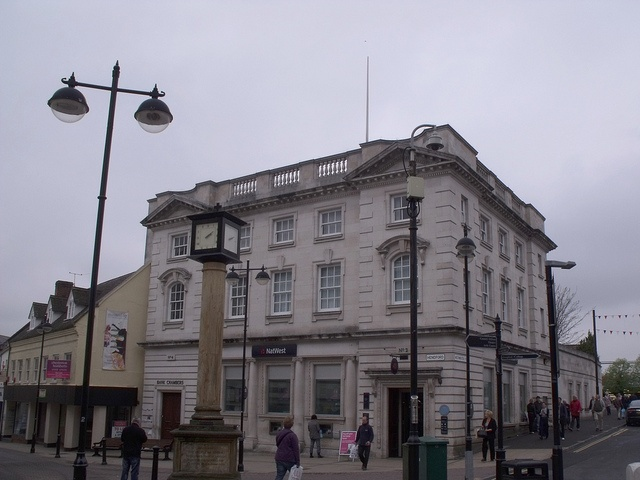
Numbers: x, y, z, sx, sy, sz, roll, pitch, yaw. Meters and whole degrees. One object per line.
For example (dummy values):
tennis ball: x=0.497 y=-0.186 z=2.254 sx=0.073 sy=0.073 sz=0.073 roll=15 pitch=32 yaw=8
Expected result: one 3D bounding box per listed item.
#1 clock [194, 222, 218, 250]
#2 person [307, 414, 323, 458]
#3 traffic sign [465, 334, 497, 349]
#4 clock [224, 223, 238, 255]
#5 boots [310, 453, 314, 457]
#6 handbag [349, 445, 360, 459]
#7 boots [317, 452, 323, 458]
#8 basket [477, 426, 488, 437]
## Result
clock: x=-3.550 y=-0.099 z=21.915 sx=0.769 sy=0.930 sz=0.067 roll=-7 pitch=-25 yaw=16
person: x=-0.284 y=10.625 z=37.847 sx=0.744 sy=2.176 sz=1.608 roll=0 pitch=-19 yaw=0
traffic sign: x=5.946 y=3.704 z=25.819 sx=1.055 sy=0.586 sz=0.540 roll=1 pitch=-19 yaw=-3
clock: x=-2.839 y=-0.012 z=22.088 sx=0.072 sy=0.868 sz=0.836 roll=-10 pitch=-15 yaw=26
boots: x=-0.472 y=11.478 z=37.348 sx=0.161 sy=0.185 sz=0.166 roll=1 pitch=-20 yaw=-3
handbag: x=1.774 y=10.637 z=35.151 sx=0.197 sy=0.709 sz=0.663 roll=10 pitch=-10 yaw=-43
boots: x=0.000 y=11.558 z=37.587 sx=0.259 sy=0.232 sz=0.696 roll=1 pitch=-20 yaw=-3
basket: x=7.556 y=9.019 z=32.708 sx=0.475 sy=0.487 sz=0.460 roll=2 pitch=-4 yaw=17
